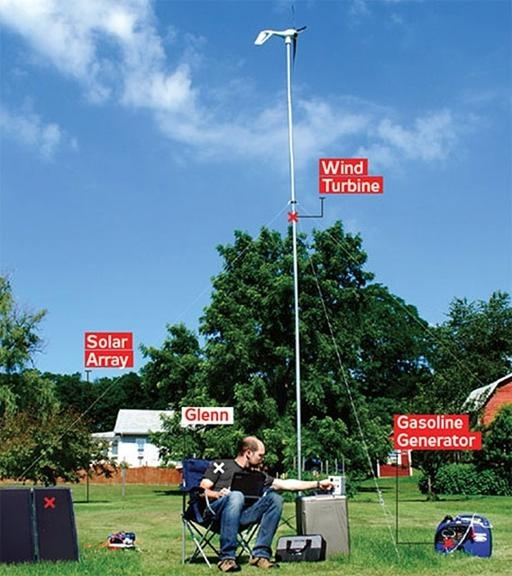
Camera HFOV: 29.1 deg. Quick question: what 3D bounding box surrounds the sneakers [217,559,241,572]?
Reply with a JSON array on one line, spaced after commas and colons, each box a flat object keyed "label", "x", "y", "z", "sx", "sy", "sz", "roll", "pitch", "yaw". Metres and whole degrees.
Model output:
[{"label": "sneakers", "x": -0.297, "y": 2.972, "z": 10.576, "sx": 0.184, "sy": 0.133, "sz": 0.337, "roll": 1, "pitch": -5, "yaw": -7}]

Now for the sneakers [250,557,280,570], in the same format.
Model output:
[{"label": "sneakers", "x": 0.101, "y": 3.003, "z": 10.773, "sx": 0.293, "sy": 0.113, "sz": 0.333, "roll": 0, "pitch": -11, "yaw": -10}]

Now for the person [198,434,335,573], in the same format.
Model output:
[{"label": "person", "x": 0.020, "y": 2.415, "z": 11.202, "sx": 1.203, "sy": 1.439, "sz": 0.950, "roll": 2, "pitch": -11, "yaw": -23}]

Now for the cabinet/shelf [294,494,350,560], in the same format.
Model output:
[{"label": "cabinet/shelf", "x": 0.850, "y": 2.849, "z": 11.973, "sx": 0.625, "sy": 0.724, "sz": 0.614, "roll": -2, "pitch": -4, "yaw": -18}]

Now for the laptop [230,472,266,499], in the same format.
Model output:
[{"label": "laptop", "x": -0.076, "y": 2.235, "z": 11.167, "sx": 0.410, "sy": 0.302, "sz": 0.291, "roll": 2, "pitch": -11, "yaw": -3}]

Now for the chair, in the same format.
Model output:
[{"label": "chair", "x": -0.394, "y": 2.623, "z": 11.512, "sx": 0.941, "sy": 1.306, "sz": 0.985, "roll": 3, "pitch": -3, "yaw": -23}]

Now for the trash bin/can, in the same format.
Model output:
[{"label": "trash bin/can", "x": 0.823, "y": 2.804, "z": 11.720, "sx": 0.634, "sy": 0.904, "sz": 0.642, "roll": 0, "pitch": -16, "yaw": -3}]
